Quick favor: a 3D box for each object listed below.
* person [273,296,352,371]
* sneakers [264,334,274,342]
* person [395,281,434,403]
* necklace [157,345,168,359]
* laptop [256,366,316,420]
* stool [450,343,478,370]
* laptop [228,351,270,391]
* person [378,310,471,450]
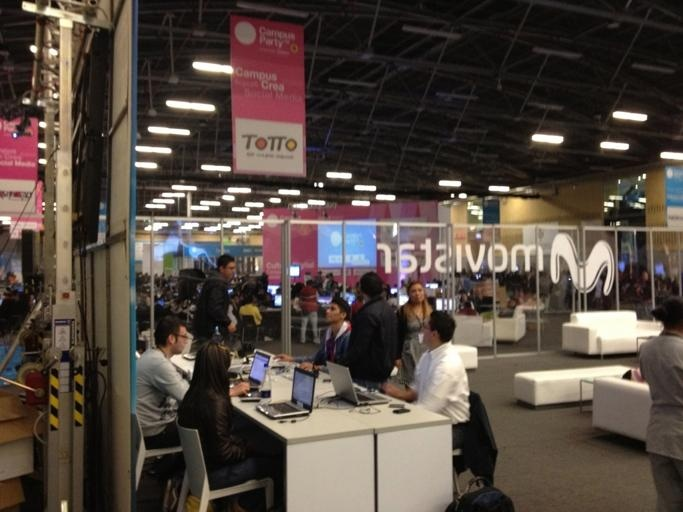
[{"bbox_3d":[-0.177,0.938,7.029,0.535,0.951,0.805,1,-4,44],"label":"person"},{"bbox_3d":[-1.391,1.583,11.406,0.197,0.236,0.099,-1,3,-1],"label":"sneakers"},{"bbox_3d":[1.082,1.302,8.375,0.521,1.883,0.560,-5,19,-2],"label":"person"},{"bbox_3d":[-1.741,0.943,5.846,0.086,0.083,0.096,-1,-19,4],"label":"necklace"},{"bbox_3d":[-0.481,1.316,5.556,0.361,0.420,0.466,5,-5,-22],"label":"laptop"},{"bbox_3d":[2.323,1.849,11.314,0.517,0.563,0.549,0,-3,-9],"label":"stool"},{"bbox_3d":[-0.972,1.258,6.464,0.344,0.308,0.433,8,-2,-30],"label":"laptop"},{"bbox_3d":[0.829,1.357,5.927,0.773,1.614,0.728,3,9,23],"label":"person"}]
